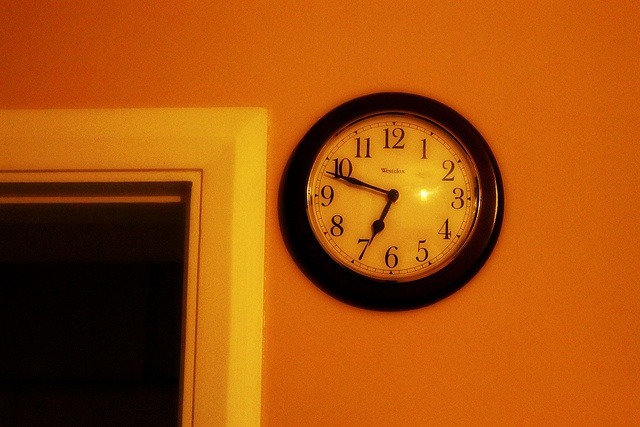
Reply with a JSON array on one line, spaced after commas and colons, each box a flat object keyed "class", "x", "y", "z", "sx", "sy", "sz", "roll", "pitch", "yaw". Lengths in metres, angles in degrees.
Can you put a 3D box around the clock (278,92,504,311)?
[{"class": "clock", "x": 0.242, "y": -0.009, "z": 3.010, "sx": 0.659, "sy": 0.723, "sz": 0.075, "roll": 1, "pitch": -8, "yaw": 1}]
